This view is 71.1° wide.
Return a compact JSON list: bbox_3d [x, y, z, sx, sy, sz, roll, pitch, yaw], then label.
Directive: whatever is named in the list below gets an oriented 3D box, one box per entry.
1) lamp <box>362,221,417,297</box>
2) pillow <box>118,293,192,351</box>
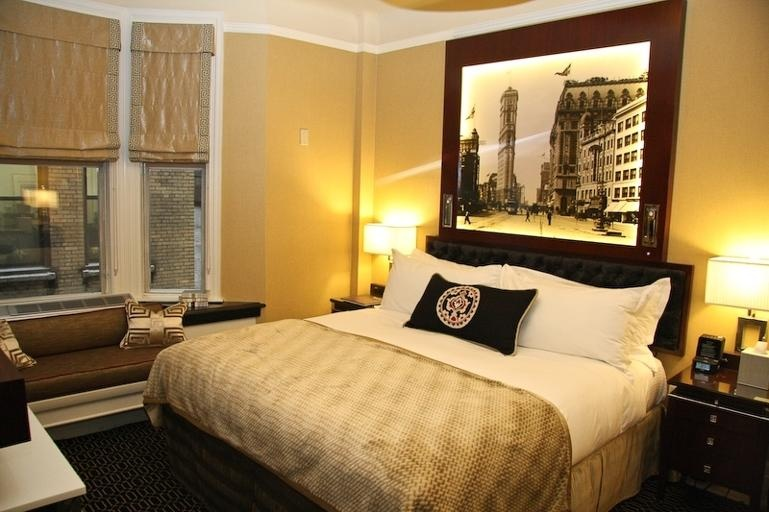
[{"bbox_3d":[0.024,-0.063,5.988,0.464,0.721,0.520,1,3,25],"label":"lamp"},{"bbox_3d":[-2.171,0.639,5.023,0.484,0.490,0.161,-1,-20,-14],"label":"pillow"}]
